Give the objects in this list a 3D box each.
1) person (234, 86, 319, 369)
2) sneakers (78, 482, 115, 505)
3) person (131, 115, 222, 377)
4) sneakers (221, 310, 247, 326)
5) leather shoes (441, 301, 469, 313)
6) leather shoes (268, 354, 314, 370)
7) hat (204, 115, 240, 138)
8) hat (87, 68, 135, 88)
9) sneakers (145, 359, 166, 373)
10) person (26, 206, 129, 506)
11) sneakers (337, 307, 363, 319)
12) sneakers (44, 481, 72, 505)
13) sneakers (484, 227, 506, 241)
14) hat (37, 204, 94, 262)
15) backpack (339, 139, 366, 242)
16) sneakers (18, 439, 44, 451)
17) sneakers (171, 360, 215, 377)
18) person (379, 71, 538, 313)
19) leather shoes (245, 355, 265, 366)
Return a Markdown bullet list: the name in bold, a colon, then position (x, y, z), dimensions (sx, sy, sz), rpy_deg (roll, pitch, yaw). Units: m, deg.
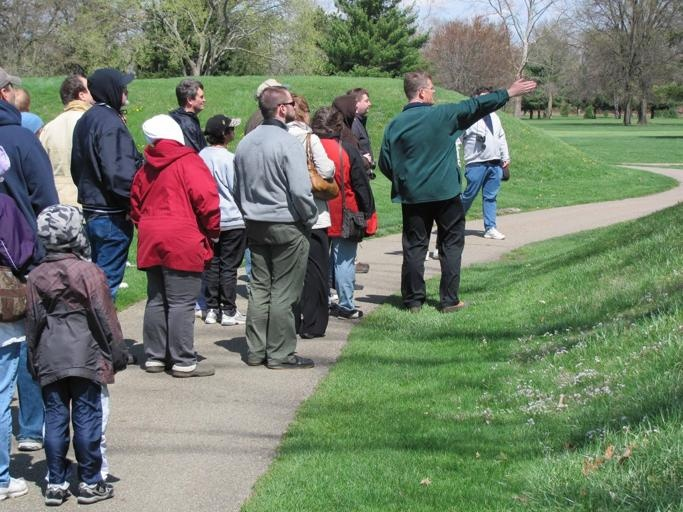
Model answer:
- **person**: position (-0.680, -0.288, 11.169), dimensions (0.864, 2.888, 0.452), rpy_deg (0, 9, 3)
- **sneakers**: position (-2.050, 1.961, 8.948), dimensions (0.333, 0.173, 0.130), rpy_deg (-3, 11, -38)
- **person**: position (-1.680, -0.099, 10.941), dimensions (0.888, 2.635, 0.418), rpy_deg (-2, 9, -8)
- **sneakers**: position (-1.272, 0.743, 12.801), dimensions (0.345, 0.171, 0.139), rpy_deg (-4, 11, -29)
- **leather shoes**: position (1.341, 0.572, 12.681), dimensions (0.299, 0.133, 0.112), rpy_deg (-10, 12, -22)
- **leather shoes**: position (-0.519, 1.076, 11.243), dimensions (0.448, 0.201, 0.184), rpy_deg (-1, -2, -5)
- **hat**: position (-1.357, -1.482, 12.295), dimensions (0.332, 0.191, 0.226), rpy_deg (-21, 30, -18)
- **hat**: position (-2.350, -1.867, 11.151), dimensions (0.371, 0.129, 0.233), rpy_deg (-7, 17, -40)
- **sneakers**: position (-1.912, 1.132, 11.120), dimensions (0.208, 0.096, 0.101), rpy_deg (19, -17, -37)
- **person**: position (-2.193, 0.816, 8.963), dimensions (0.799, 2.450, 0.476), rpy_deg (-4, 9, -19)
- **sneakers**: position (0.091, 0.669, 12.847), dimensions (0.326, 0.149, 0.123), rpy_deg (1, 18, -10)
- **sneakers**: position (-2.370, 1.961, 8.930), dimensions (0.106, 0.129, 0.281), rpy_deg (1, 2, -1)
- **sneakers**: position (2.528, -0.366, 17.767), dimensions (0.352, 0.173, 0.155), rpy_deg (5, 10, 37)
- **hat**: position (-2.316, -0.199, 8.989), dimensions (0.351, 0.497, 0.481), rpy_deg (6, 23, 14)
- **backpack**: position (0.141, -0.736, 12.438), dimensions (0.304, 1.142, 0.241), rpy_deg (-1, 9, 1)
- **sneakers**: position (-2.797, 1.690, 9.698), dimensions (0.217, 0.107, 0.088), rpy_deg (3, 1, -8)
- **sneakers**: position (-1.514, 1.169, 11.043), dimensions (0.332, 0.103, 0.191), rpy_deg (2, -1, -20)
- **person**: position (1.131, -0.736, 12.524), dimensions (1.412, 2.778, 0.638), rpy_deg (0, 9, 8)
- **leather shoes**: position (-0.902, 1.099, 11.384), dimensions (0.097, 0.138, 0.193), rpy_deg (0, -10, 10)
